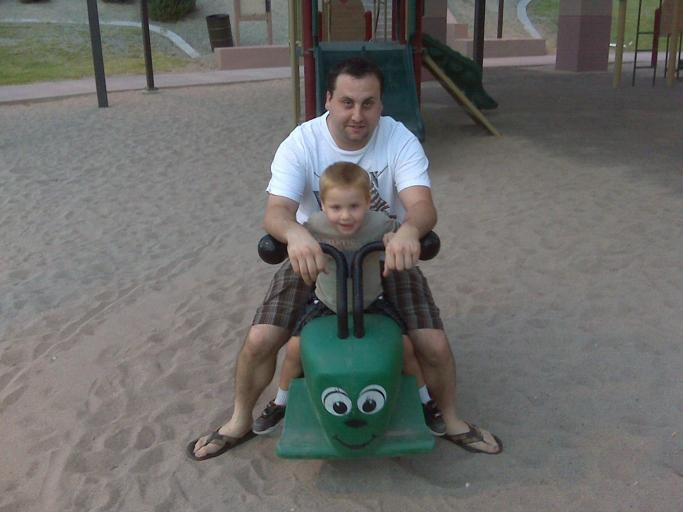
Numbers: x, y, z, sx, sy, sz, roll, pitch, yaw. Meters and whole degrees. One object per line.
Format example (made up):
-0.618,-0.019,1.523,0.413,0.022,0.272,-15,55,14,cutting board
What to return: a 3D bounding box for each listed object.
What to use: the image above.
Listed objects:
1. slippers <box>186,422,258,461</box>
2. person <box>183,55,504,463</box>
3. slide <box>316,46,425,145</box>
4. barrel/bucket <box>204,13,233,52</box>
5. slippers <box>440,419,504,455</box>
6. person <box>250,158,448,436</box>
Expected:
-0.564,0.899,2.772,0.306,0.076,0.141,-19,38,6,slippers
0.003,0.008,2.643,1.367,1.710,1.029,-3,22,-5,person
0.285,-2.204,7.209,1.324,0.675,1.836,1,27,0,slide
-3.921,-7.193,18.973,0.699,1.099,0.689,-2,18,1,barrel/bucket
0.610,0.830,2.698,0.304,0.096,0.124,13,52,16,slippers
0.028,0.182,2.447,0.906,1.022,0.554,0,11,19,person
